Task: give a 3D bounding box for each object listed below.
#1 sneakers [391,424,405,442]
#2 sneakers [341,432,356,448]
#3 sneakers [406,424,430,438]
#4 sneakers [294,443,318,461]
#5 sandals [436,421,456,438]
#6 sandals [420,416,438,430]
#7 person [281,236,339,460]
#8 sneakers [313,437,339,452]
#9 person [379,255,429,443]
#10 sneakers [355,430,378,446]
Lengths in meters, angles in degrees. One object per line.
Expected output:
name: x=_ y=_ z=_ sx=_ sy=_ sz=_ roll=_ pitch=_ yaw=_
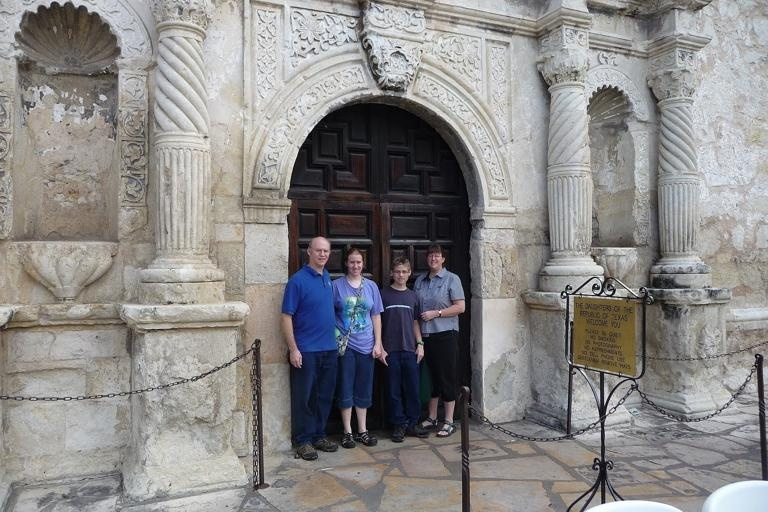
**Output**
sneakers: x=0.148 y=1.849 z=7.691 sx=0.140 sy=0.151 sz=0.159 roll=-1 pitch=0 yaw=-4
sneakers: x=-0.363 y=1.879 z=7.557 sx=0.139 sy=0.141 sz=0.169 roll=-1 pitch=0 yaw=-2
sneakers: x=0.357 y=1.850 z=7.791 sx=0.241 sy=0.107 sz=0.103 roll=-4 pitch=-5 yaw=26
sneakers: x=-0.758 y=1.936 z=7.294 sx=0.112 sy=0.093 sz=0.219 roll=4 pitch=-6 yaw=-42
sandals: x=0.660 y=1.833 z=7.888 sx=0.187 sy=0.138 sz=0.311 roll=-1 pitch=0 yaw=10
sandals: x=0.495 y=1.812 z=7.956 sx=0.214 sy=0.095 sz=0.090 roll=6 pitch=-6 yaw=-32
person: x=-0.749 y=0.912 z=7.369 sx=0.538 sy=2.178 sz=0.275 roll=-1 pitch=-1 yaw=-8
sneakers: x=-0.591 y=1.904 z=7.452 sx=0.227 sy=0.098 sz=0.115 roll=2 pitch=2 yaw=1
person: x=0.216 y=0.969 z=7.783 sx=0.465 sy=1.892 sz=0.282 roll=-1 pitch=-1 yaw=1
sneakers: x=-0.191 y=1.883 z=7.637 sx=0.230 sy=0.105 sz=0.106 roll=3 pitch=-1 yaw=36
